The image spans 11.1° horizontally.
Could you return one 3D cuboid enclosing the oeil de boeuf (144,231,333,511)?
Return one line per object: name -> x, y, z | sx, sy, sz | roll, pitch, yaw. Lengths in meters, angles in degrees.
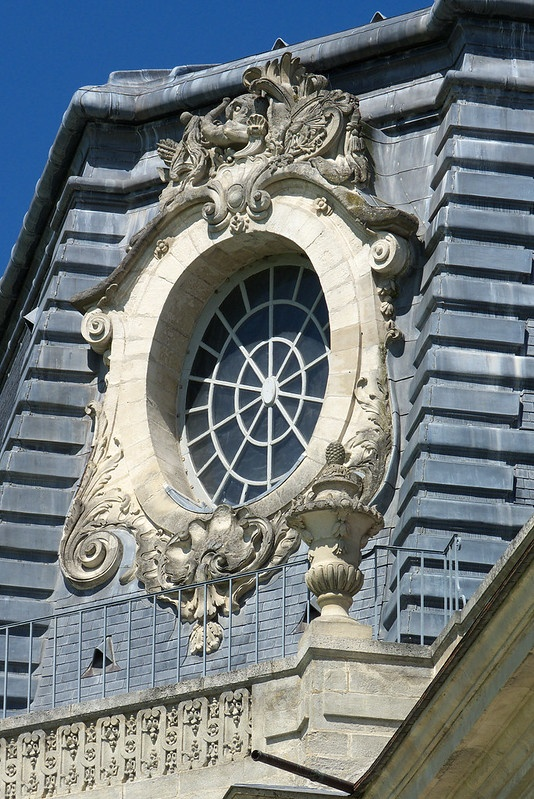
oeil de boeuf -> -0.251, -0.230, 31.340 | 0.130, 2.598, 1.990 | 26, -56, -32
